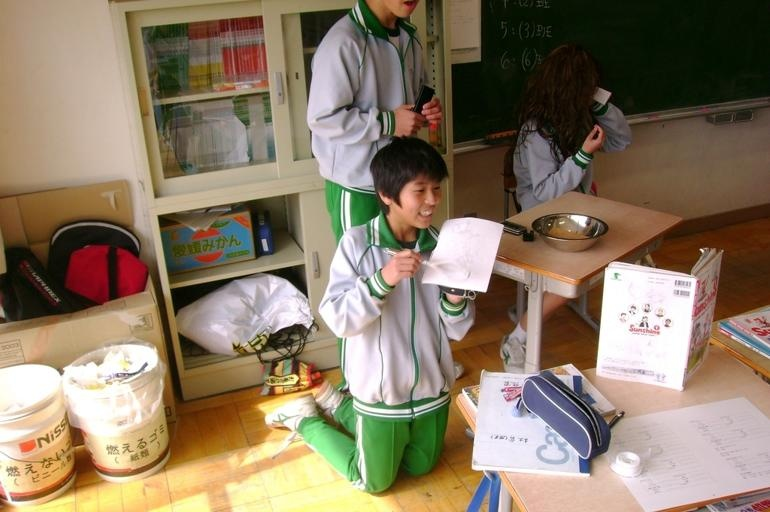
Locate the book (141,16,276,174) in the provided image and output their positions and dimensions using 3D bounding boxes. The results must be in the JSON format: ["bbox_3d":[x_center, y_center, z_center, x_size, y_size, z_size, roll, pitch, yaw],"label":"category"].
[{"bbox_3d":[-0.940,-0.870,2.961,0.683,0.875,0.038,-11,32,-16],"label":"book"}]

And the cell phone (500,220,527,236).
[{"bbox_3d":[0.641,-0.138,2.817,0.101,0.035,0.106,16,29,25],"label":"cell phone"}]

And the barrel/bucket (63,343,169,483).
[{"bbox_3d":[-1.323,0.776,2.797,0.406,0.480,0.419,-1,30,1],"label":"barrel/bucket"}]

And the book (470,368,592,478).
[{"bbox_3d":[0.472,0.591,1.891,0.332,0.053,0.382,2,50,7],"label":"book"}]

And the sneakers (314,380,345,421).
[{"bbox_3d":[-0.302,0.746,3.039,0.145,0.154,0.189,-41,7,-16],"label":"sneakers"}]

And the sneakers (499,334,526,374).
[{"bbox_3d":[0.725,0.552,3.228,0.130,0.156,0.228,-24,62,33],"label":"sneakers"}]

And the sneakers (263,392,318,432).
[{"bbox_3d":[-0.488,0.838,3.042,0.372,0.164,0.141,-19,41,27],"label":"sneakers"}]

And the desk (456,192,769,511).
[{"bbox_3d":[0.901,0.603,2.550,1.076,0.373,1.558,19,48,19],"label":"desk"}]
